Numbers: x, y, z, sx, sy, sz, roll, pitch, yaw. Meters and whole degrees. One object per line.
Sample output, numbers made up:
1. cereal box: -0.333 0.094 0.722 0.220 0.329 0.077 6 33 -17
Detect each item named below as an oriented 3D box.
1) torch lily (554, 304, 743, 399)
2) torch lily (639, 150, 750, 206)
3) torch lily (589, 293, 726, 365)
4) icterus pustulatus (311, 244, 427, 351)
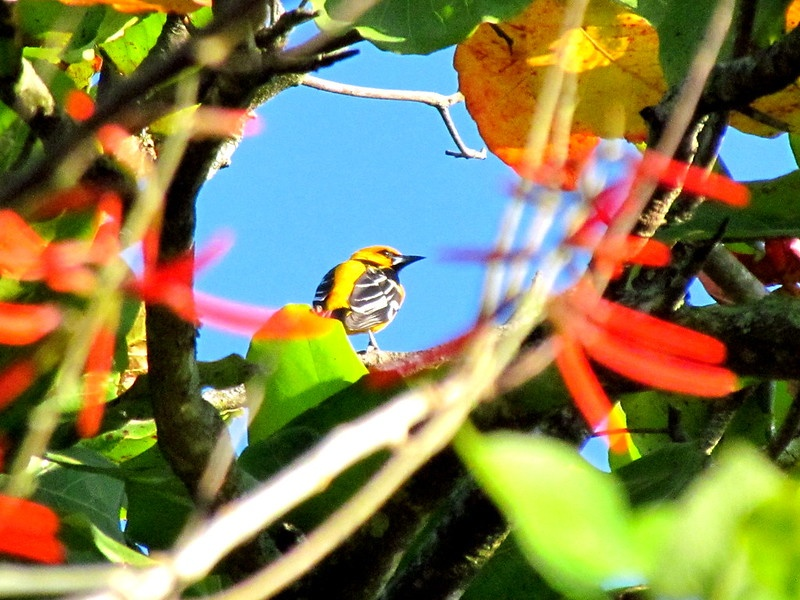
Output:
1. torch lily: 0.178 0.033 1.088 0.198 0.048 0.041 18 -14 -30
2. torch lily: 0.202 -0.089 1.056 0.097 0.039 0.027 18 -38 -35
3. torch lily: 0.184 0.023 1.086 0.059 0.051 0.069 -2 6 2
4. icterus pustulatus: -0.185 -0.063 5.841 0.343 0.432 0.490 14 11 41
